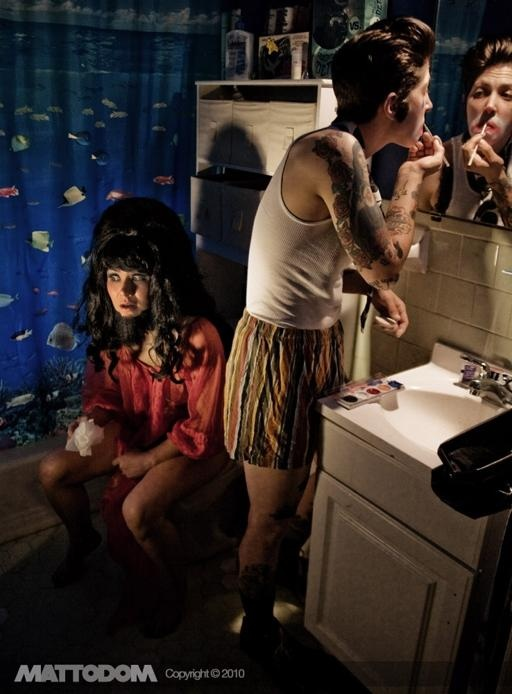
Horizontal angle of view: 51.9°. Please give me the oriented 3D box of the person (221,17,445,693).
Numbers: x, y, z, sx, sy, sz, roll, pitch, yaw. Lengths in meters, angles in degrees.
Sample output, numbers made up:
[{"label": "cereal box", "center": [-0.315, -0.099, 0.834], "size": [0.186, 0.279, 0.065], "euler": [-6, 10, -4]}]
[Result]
[{"label": "person", "center": [0.103, 0.111, 1.090], "size": [0.339, 1.385, 0.272], "euler": [2, 23, -4]}]

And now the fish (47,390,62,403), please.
[{"label": "fish", "center": [-0.787, 0.194, 2.058], "size": [0.021, 0.035, 0.074], "euler": [3, 24, 17]}]

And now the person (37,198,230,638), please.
[{"label": "person", "center": [-0.353, 0.191, 1.500], "size": [0.504, 1.155, 0.452], "euler": [10, 24, 14]}]
